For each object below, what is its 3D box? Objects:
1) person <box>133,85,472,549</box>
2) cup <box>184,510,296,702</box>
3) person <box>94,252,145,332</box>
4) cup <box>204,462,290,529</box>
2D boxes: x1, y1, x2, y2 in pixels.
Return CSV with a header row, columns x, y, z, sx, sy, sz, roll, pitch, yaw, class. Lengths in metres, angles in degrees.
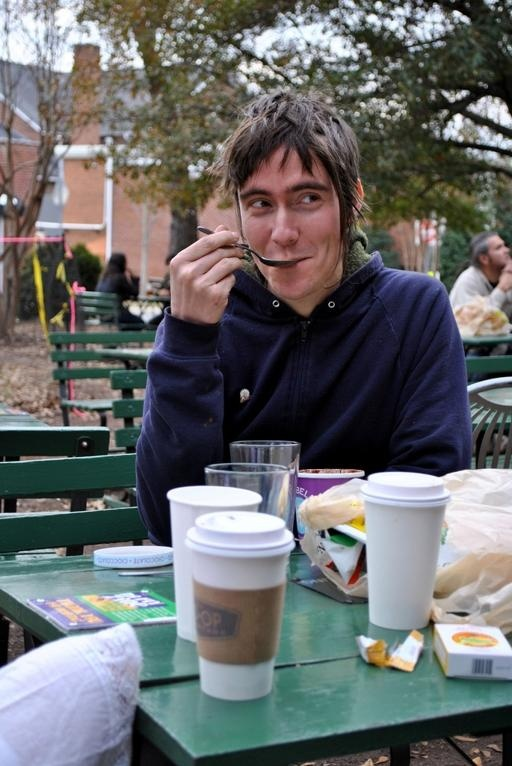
x,y,z,sx,sy,sz,roll,pitch,yaw,class
0.116,-0.081,1.903,0.871,1.159,0.752,0,0,18,person
-0.009,0.243,0.770,0.136,0.157,0.125,0,-11,0,cup
-2.432,-1.610,12.865,0.625,1.389,0.825,-21,-14,26,person
-0.016,0.167,1.149,0.109,0.084,0.117,0,3,0,cup
